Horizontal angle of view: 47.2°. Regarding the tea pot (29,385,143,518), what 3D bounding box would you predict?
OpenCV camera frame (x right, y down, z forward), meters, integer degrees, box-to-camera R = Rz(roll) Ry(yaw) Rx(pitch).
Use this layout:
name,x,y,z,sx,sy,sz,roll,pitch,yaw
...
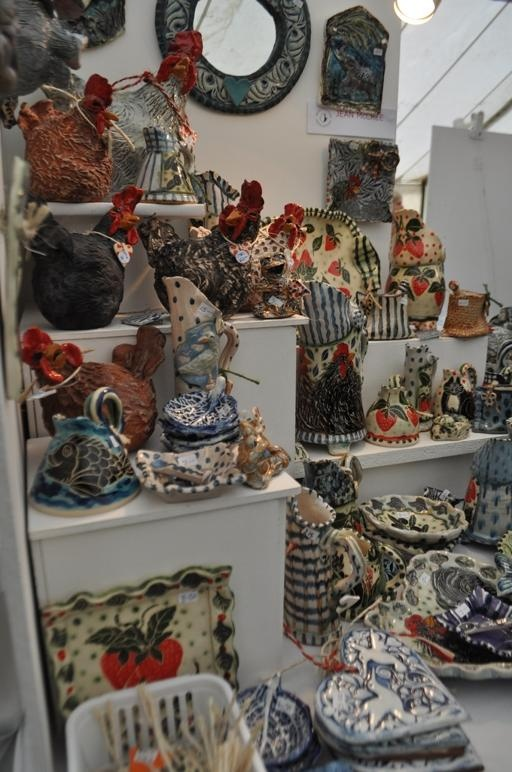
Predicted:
name,x,y,z,sx,sy,sz,roll,pitch,yaw
tea pot,-0.282,0.103,0.972,0.176,0.192,0.124,-2,6,-28

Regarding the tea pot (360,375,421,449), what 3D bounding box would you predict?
name,x,y,z,sx,sy,sz,roll,pitch,yaw
tea pot,0.441,0.074,2.044,0.213,0.233,0.217,1,12,0

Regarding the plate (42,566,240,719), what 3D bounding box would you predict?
name,x,y,z,sx,sy,sz,roll,pitch,yaw
plate,-0.196,0.423,0.985,0.269,0.207,0.047,-9,10,-30

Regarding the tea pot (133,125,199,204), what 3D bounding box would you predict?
name,x,y,z,sx,sy,sz,roll,pitch,yaw
tea pot,-0.232,-0.536,1.467,0.176,0.178,0.159,-3,8,-21

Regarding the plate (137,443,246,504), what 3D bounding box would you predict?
name,x,y,z,sx,sy,sz,roll,pitch,yaw
plate,-0.107,0.141,0.958,0.144,0.053,0.103,-4,24,-20
